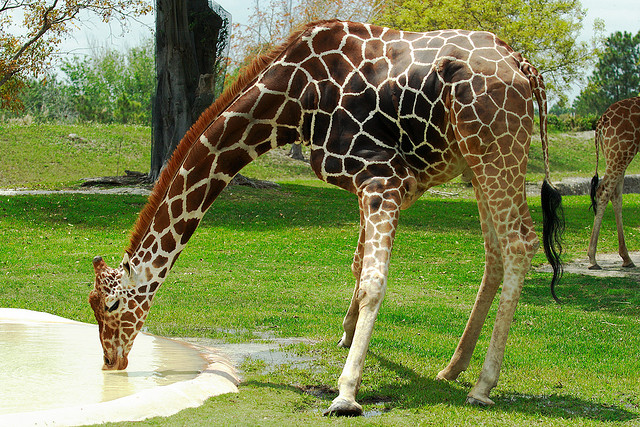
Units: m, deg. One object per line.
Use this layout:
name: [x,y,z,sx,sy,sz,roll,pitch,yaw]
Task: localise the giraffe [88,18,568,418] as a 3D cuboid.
giraffe: [0.332,0.168,21.667,11.599,7.923,3.826,-2,5,-3]
